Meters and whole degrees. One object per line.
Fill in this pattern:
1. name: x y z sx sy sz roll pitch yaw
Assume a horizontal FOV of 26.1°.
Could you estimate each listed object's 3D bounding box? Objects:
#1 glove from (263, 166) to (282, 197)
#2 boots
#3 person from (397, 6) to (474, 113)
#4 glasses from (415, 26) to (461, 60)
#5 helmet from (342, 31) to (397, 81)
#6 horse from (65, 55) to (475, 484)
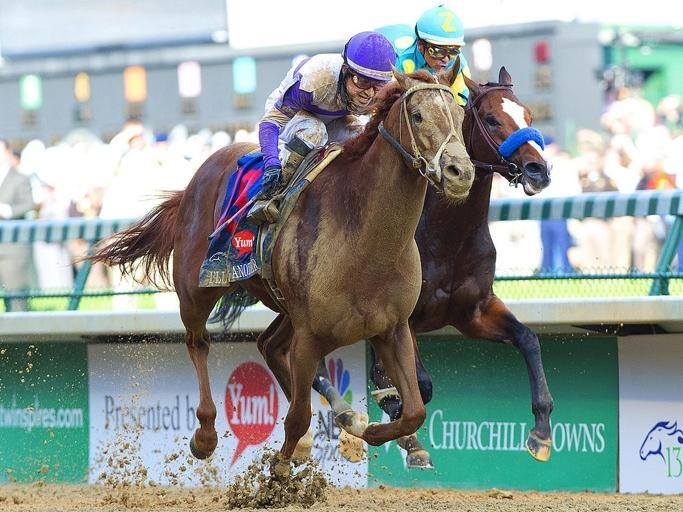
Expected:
1. glove: -0.553 -0.565 11.170 0.118 0.221 0.075 10 -7 30
2. boots: -0.477 -0.567 11.268 0.143 0.668 0.379 23 -6 -6
3. person: 0.796 -1.598 11.756 0.448 0.688 0.932 -3 31 -17
4. glasses: 0.768 -1.697 11.825 0.209 0.116 0.294 8 13 -24
5. helmet: 0.213 -1.543 11.136 0.374 0.314 0.577 5 23 -11
6. horse: -0.244 0.156 11.396 1.045 3.132 3.060 -4 5 -40
